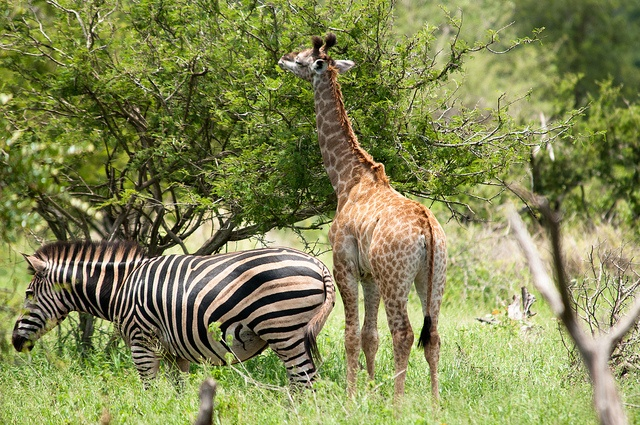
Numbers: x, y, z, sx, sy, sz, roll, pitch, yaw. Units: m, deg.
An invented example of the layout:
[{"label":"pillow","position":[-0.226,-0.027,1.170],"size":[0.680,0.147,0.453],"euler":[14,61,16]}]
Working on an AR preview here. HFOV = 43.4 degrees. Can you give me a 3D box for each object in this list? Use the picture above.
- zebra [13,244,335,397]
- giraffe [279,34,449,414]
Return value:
[{"label":"zebra","position":[-2.158,1.665,12.133],"size":[5.077,3.399,1.488],"euler":[-2,-10,8]},{"label":"giraffe","position":[0.747,0.058,11.769],"size":[2.078,5.213,0.878],"euler":[0,-14,5]}]
